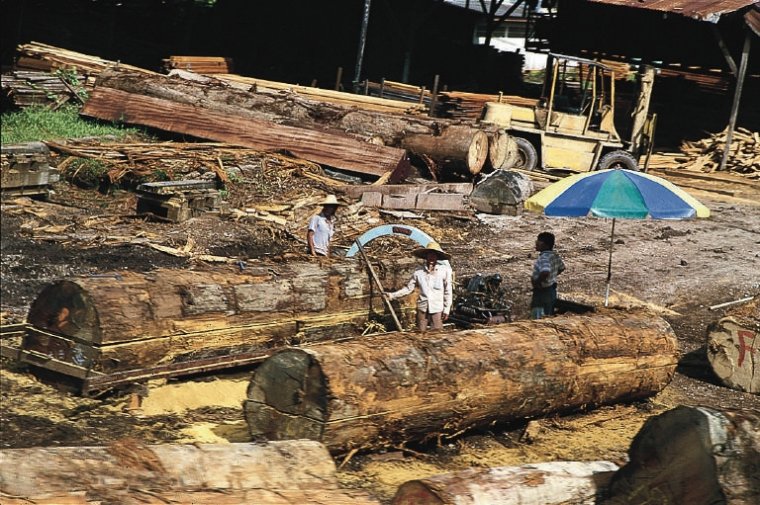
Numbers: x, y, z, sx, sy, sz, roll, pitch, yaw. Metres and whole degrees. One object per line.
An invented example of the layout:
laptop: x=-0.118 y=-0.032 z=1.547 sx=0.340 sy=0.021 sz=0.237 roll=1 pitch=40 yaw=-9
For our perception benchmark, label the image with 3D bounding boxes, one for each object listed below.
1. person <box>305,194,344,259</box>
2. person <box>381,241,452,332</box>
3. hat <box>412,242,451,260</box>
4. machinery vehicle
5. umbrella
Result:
person: x=-0.954 y=-0.417 z=13.913 sx=0.422 sy=1.018 sz=0.748 roll=6 pitch=9 yaw=-5
person: x=0.708 y=0.528 z=12.799 sx=0.966 sy=1.309 sz=0.522 roll=3 pitch=10 yaw=-16
hat: x=0.799 y=-0.011 z=12.837 sx=0.503 sy=0.293 sz=0.457 roll=6 pitch=8 yaw=13
machinery vehicle: x=4.224 y=-3.531 z=22.521 sx=6.054 sy=3.048 sz=2.681 roll=1 pitch=12 yaw=-38
umbrella: x=3.791 y=-0.647 z=13.485 sx=2.167 sy=1.374 sz=1.917 roll=-18 pitch=29 yaw=-27
